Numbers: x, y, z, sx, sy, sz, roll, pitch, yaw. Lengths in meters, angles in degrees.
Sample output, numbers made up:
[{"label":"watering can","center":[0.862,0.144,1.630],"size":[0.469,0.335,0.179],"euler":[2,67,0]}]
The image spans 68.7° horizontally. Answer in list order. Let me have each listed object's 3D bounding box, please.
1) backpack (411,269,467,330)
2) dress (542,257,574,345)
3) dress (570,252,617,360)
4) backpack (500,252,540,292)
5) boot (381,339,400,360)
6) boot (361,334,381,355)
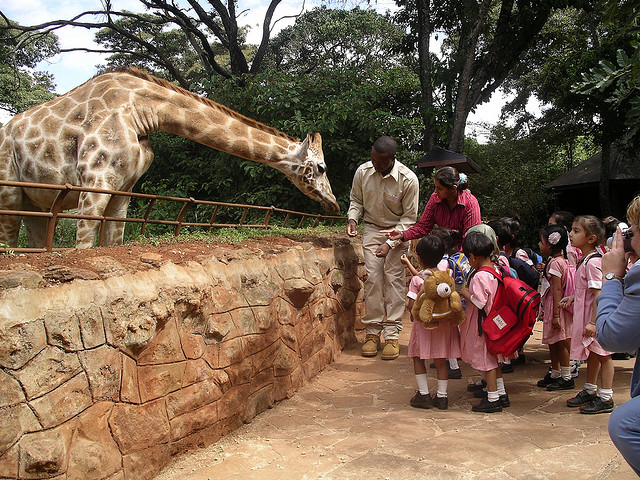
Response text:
[{"label":"backpack","center":[1.160,0.567,4.570],"size":[0.520,0.593,0.399],"euler":[-3,10,8]},{"label":"dress","center":[2.559,0.662,5.059],"size":[0.292,0.791,0.428],"euler":[-2,0,25]},{"label":"dress","center":[2.582,0.653,4.507],"size":[0.317,0.869,0.522],"euler":[-2,0,26]},{"label":"backpack","center":[2.357,0.350,5.517],"size":[0.455,0.473,0.321],"euler":[4,16,24]},{"label":"boot","center":[0.949,1.471,6.331],"size":[0.240,0.242,0.221],"euler":[-2,0,7]},{"label":"boot","center":[0.716,1.452,6.527],"size":[0.163,0.259,0.323],"euler":[-2,0,29]}]
